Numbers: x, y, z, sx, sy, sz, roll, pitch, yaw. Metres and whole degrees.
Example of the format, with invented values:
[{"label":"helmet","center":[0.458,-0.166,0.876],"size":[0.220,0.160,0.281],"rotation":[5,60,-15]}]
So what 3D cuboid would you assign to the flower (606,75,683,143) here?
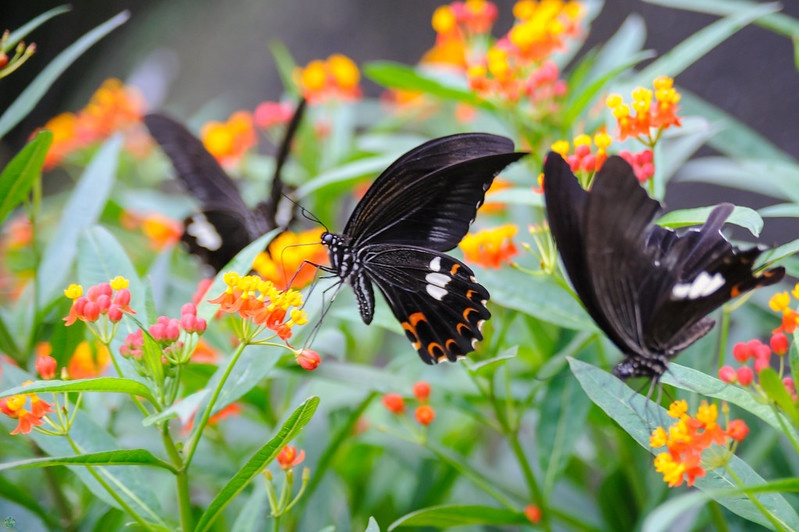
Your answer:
[{"label":"flower","center":[0.593,-0.363,1.783],"size":[0.142,0.156,0.197],"rotation":[4,16,38]}]

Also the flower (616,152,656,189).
[{"label":"flower","center":[0.526,-0.214,1.695],"size":[0.093,0.051,0.073],"rotation":[33,8,-4]}]

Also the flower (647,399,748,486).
[{"label":"flower","center":[0.623,0.373,1.628],"size":[0.190,0.205,0.165],"rotation":[-5,13,1]}]
